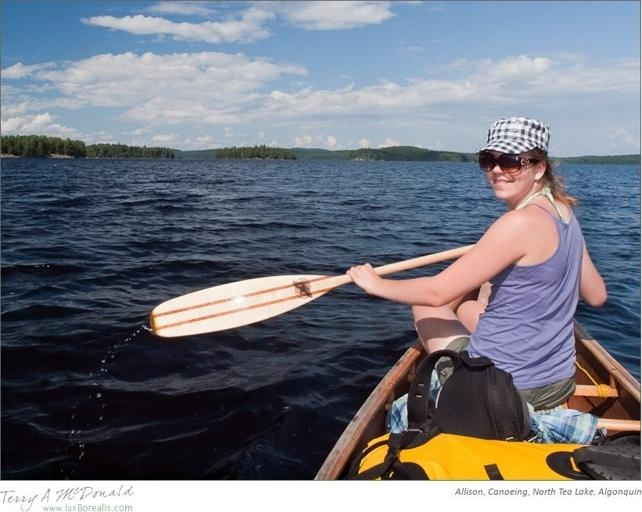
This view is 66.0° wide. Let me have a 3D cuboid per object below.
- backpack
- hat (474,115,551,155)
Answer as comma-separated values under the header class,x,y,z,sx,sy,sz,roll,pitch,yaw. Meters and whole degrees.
class,x,y,z,sx,sy,sz,roll,pitch,yaw
backpack,0.734,0.725,2.583,0.661,0.413,0.527,-3,41,15
hat,1.087,-0.682,2.787,0.459,0.151,0.328,2,8,34
